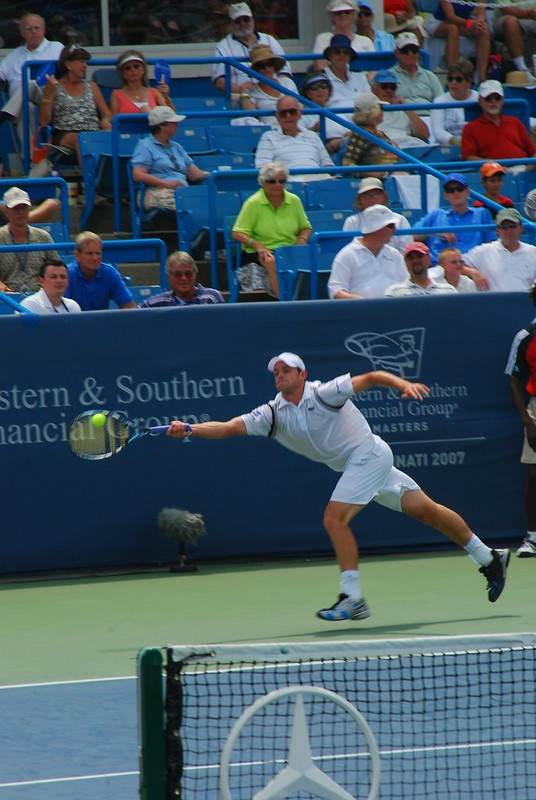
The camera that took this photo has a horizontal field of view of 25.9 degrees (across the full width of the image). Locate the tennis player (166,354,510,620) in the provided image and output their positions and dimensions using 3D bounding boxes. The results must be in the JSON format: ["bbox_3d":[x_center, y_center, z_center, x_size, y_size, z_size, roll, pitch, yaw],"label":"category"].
[{"bbox_3d":[0.439,0.396,6.200,2.059,1.373,0.890,3,-17,-12],"label":"tennis player"}]

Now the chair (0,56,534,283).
[{"bbox_3d":[-0.287,-1.768,9.765,3.250,1.650,2.138,-3,5,-8],"label":"chair"}]

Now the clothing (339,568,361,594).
[{"bbox_3d":[0.440,0.957,6.194,0.141,0.175,0.117,-4,3,3],"label":"clothing"}]

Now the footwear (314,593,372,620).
[{"bbox_3d":[0.404,1.090,6.178,0.331,0.156,0.113,0,-3,-21],"label":"footwear"}]

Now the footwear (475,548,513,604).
[{"bbox_3d":[1.276,0.970,6.548,0.166,0.338,0.118,0,11,-7],"label":"footwear"}]
